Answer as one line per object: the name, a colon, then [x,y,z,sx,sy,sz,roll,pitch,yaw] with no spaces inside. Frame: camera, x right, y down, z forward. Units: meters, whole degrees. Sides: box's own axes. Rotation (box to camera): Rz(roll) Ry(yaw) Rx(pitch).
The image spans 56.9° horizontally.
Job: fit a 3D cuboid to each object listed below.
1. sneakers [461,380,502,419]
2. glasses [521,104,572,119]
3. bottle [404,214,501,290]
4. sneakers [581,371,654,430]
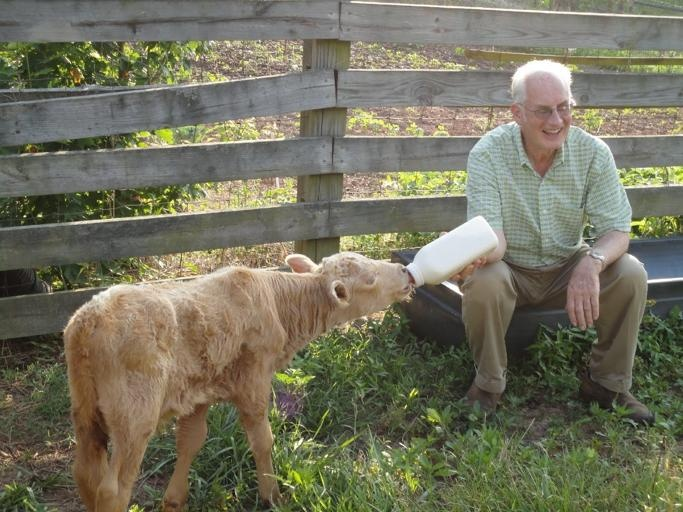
sneakers: [1.032,1.064,4.604,0.157,0.348,0.143,3,34,-10]
glasses: [1.521,-1.058,4.628,0.332,0.104,0.120,0,18,13]
bottle: [0.825,-0.025,4.587,0.623,0.268,0.258,-31,25,-19]
sneakers: [2.073,1.053,4.808,0.595,0.261,0.212,20,38,34]
